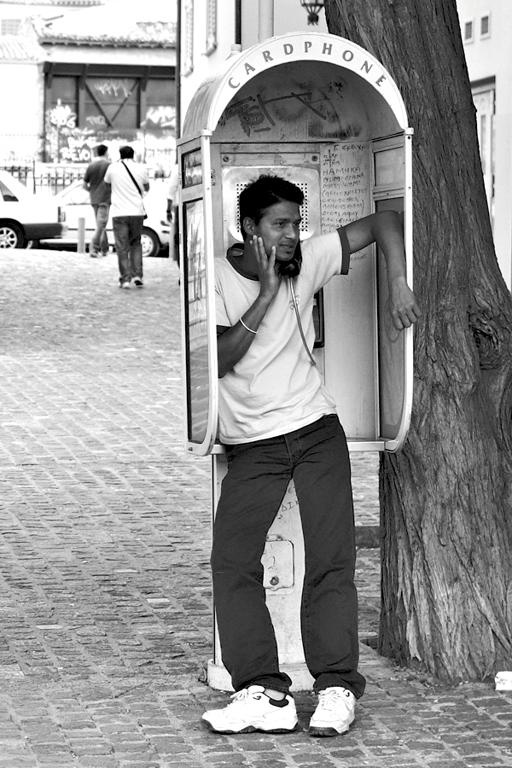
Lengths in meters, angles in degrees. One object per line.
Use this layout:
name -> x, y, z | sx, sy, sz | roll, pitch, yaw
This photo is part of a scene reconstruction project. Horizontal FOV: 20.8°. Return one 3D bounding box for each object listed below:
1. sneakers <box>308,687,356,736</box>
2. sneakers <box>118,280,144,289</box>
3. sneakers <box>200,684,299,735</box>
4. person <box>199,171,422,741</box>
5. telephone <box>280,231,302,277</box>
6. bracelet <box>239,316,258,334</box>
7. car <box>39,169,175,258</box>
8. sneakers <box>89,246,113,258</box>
sneakers -> 0.225, 0.941, 3.988 | 0.110, 0.162, 0.320 | -8, -12, 20
sneakers -> -1.647, -1.257, 17.793 | 0.304, 0.180, 0.127 | 0, -8, -5
sneakers -> -0.021, 0.928, 4.021 | 0.280, 0.179, 0.125 | 3, -6, -9
person -> 0.142, 0.188, 4.125 | 0.563, 1.594, 0.585 | 0, 5, 6
telephone -> 0.100, -0.382, 4.118 | 0.030, 0.109, 0.068 | 7, -17, -8
bracelet -> -0.025, -0.171, 4.037 | 0.055, 0.054, 0.045 | -2, 6, -14
car -> -2.540, -2.758, 23.936 | 2.253, 1.479, 1.447 | 5, 8, 4
sneakers -> -2.507, -2.100, 21.836 | 0.115, 0.206, 0.431 | 4, 15, 18
